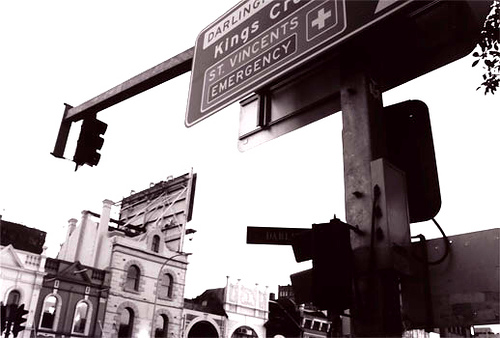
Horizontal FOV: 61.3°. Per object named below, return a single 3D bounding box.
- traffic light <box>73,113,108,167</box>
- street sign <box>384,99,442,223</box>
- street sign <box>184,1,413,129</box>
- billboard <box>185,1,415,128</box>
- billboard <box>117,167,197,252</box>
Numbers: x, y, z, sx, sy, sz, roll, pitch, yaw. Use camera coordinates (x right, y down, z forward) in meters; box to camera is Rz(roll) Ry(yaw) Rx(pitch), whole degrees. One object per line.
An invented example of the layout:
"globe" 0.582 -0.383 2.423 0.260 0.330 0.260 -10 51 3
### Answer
"traffic light" -2.316 -0.429 6.128 0.344 0.802 0.317 13 -27 -22
"street sign" 1.533 -0.009 3.905 0.648 1.233 0.283 -8 -12 22
"street sign" 0.529 -0.948 3.759 1.543 0.921 0.022 -23 -41 29
"billboard" 0.539 -0.951 3.758 1.511 0.900 0.022 -24 -40 32
"billboard" -8.899 5.121 36.544 1.669 9.677 11.001 25 -27 -39
